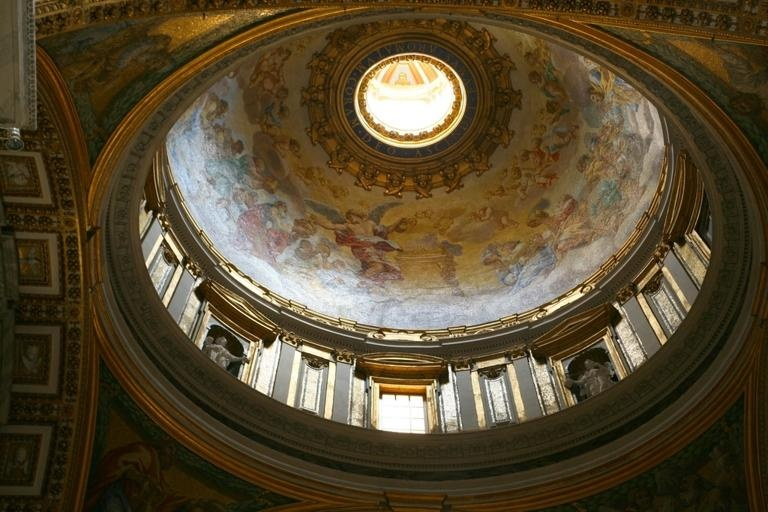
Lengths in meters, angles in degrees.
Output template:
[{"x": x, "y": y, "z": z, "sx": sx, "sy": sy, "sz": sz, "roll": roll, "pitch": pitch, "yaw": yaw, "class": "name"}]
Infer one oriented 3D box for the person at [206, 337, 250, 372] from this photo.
[{"x": -4.349, "y": 2.757, "z": 19.294, "sx": 0.942, "sy": 0.879, "sz": 0.206, "roll": 18, "pitch": -54, "yaw": -27, "class": "person"}]
